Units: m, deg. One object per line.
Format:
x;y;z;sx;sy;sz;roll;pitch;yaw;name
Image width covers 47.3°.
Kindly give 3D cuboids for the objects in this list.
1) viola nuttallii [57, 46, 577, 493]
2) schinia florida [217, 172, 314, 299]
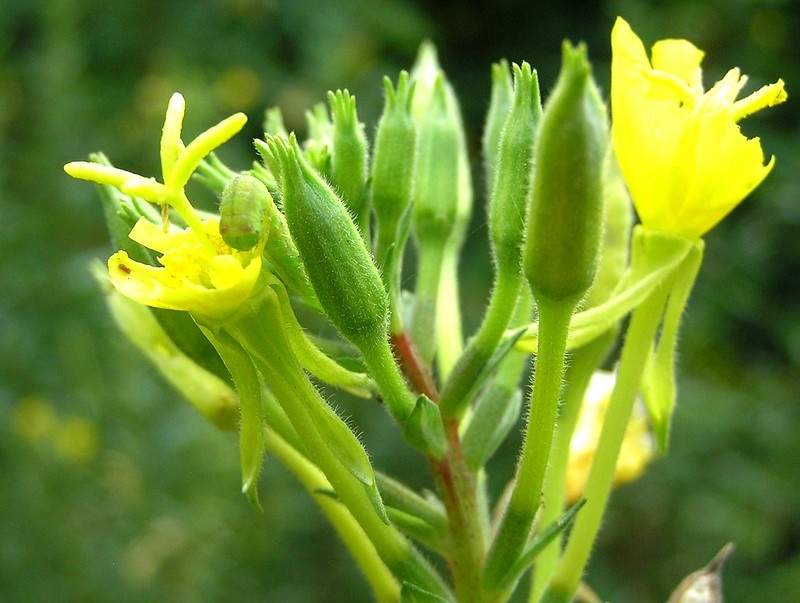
-0.057;0.010;1.647;0.845;0.843;0.687;-18;32;-12;viola nuttallii
-0.226;-0.079;1.529;0.137;0.275;0.070;-32;36;-32;schinia florida
